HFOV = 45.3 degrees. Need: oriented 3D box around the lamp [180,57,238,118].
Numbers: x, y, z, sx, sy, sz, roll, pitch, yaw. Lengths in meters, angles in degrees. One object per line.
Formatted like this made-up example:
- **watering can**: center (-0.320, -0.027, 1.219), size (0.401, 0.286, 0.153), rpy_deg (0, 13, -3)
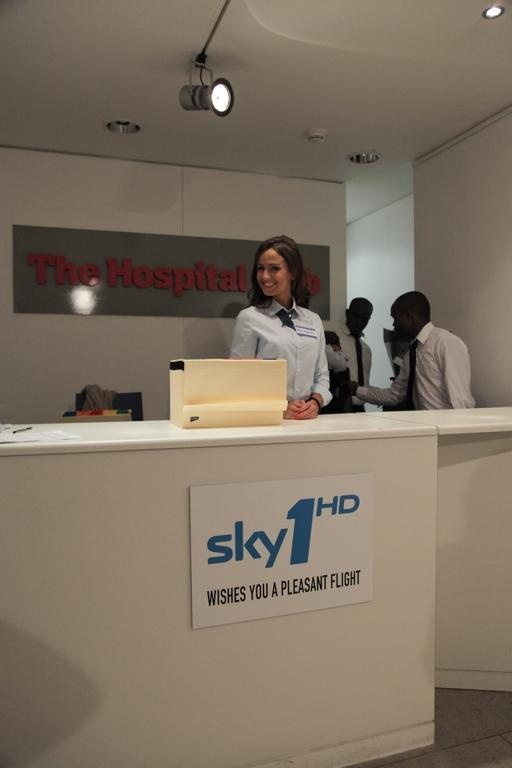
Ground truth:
- **lamp**: center (-0.236, -1.328, 2.680), size (0.195, 0.301, 0.150), rpy_deg (10, 24, 26)
